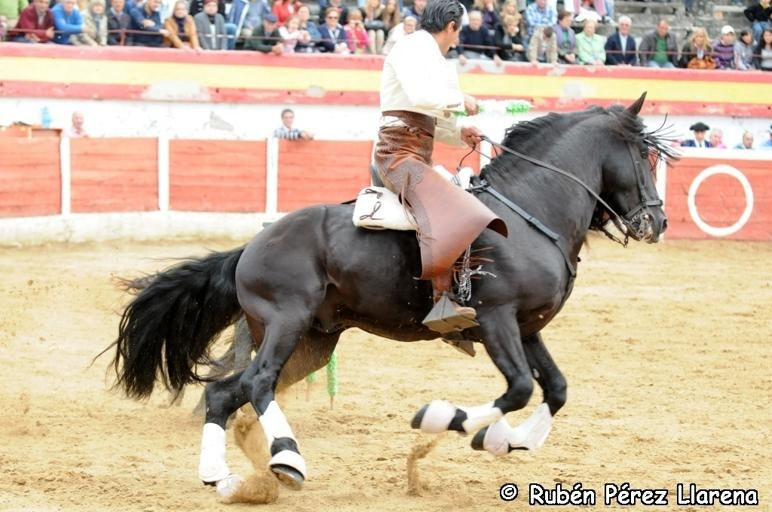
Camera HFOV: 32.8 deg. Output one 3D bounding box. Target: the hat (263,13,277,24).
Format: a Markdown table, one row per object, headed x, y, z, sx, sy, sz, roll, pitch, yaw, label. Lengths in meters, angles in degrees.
| x | y | z | sx | sy | sz | roll | pitch | yaw | label |
| --- | --- | --- | --- | --- | --- | --- | --- | --- | --- |
| -1.840 | -3.756 | 20.867 | 0.205 | 0.141 | 0.184 | -1 | 11 | -12 | hat |

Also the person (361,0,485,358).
| x | y | z | sx | sy | sz | roll | pitch | yaw | label |
| --- | --- | --- | --- | --- | --- | --- | --- | --- | --- |
| 0.454 | -0.737 | 12.938 | 1.131 | 3.517 | 1.103 | 0 | 13 | -7 | person |

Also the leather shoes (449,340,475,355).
| x | y | z | sx | sy | sz | roll | pitch | yaw | label |
| --- | --- | --- | --- | --- | --- | --- | --- | --- | --- |
| 0.771 | 0.909 | 13.190 | 0.230 | 0.079 | 0.170 | 16 | 2 | -15 | leather shoes |
